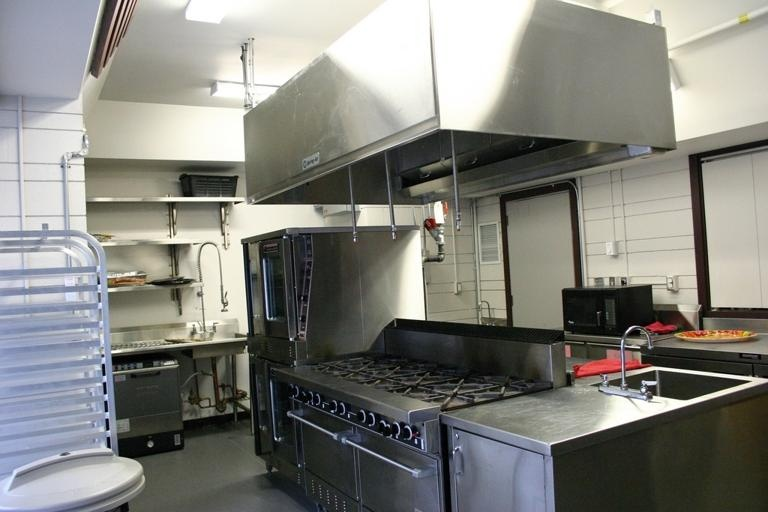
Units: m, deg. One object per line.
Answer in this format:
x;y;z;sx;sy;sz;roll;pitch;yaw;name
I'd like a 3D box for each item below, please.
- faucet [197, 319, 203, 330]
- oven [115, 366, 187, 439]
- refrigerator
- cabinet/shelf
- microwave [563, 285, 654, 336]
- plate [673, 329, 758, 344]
-2.094;0.795;6.466;0.070;0.106;0.063;-7;10;-5;faucet
-2.393;1.446;5.841;0.644;0.638;0.654;0;0;-31;oven
-0.690;0.593;6.196;1.912;3.334;1.920;-1;1;-25;refrigerator
-2.376;-0.013;6.041;1.495;1.289;0.442;0;-3;-23;cabinet/shelf
2.122;0.513;5.446;0.543;0.425;0.701;-5;0;-32;microwave
2.663;0.662;4.579;0.566;0.085;0.260;-1;10;28;plate
